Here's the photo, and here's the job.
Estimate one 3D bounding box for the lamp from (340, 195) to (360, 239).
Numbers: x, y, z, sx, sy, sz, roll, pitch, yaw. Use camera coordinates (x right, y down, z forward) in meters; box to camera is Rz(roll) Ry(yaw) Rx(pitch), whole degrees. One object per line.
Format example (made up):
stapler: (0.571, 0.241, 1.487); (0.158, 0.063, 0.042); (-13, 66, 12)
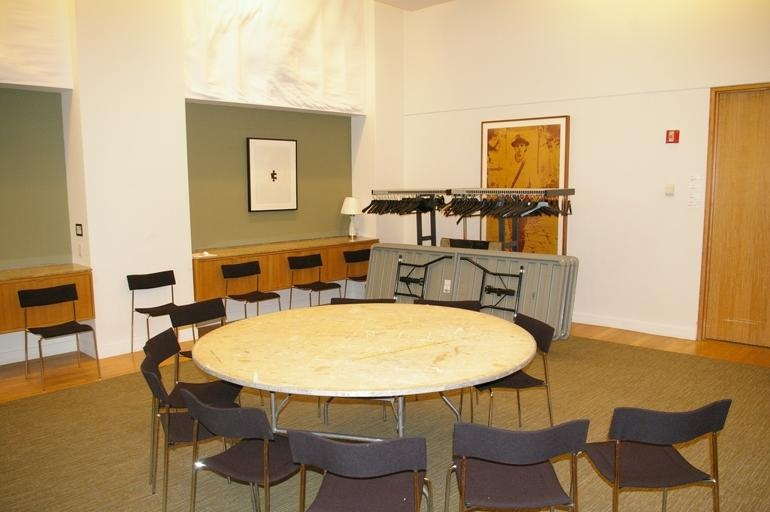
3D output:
lamp: (-0.598, -0.690, 9.461); (0.357, 0.707, 0.446); (-3, 9, -5)

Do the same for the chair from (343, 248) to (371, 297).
chair: (-0.491, 0.294, 9.141); (0.430, 0.877, 0.736); (-3, 9, -5)

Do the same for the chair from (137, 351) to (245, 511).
chair: (-1.617, 1.506, 4.523); (0.951, 1.461, 0.871); (-4, 17, -22)

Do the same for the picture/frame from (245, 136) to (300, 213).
picture/frame: (-1.805, -1.309, 8.700); (0.184, 1.141, 0.923); (6, 12, 39)

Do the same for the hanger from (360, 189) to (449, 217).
hanger: (0.364, -0.786, 7.776); (1.250, 0.359, 0.713); (5, 11, 38)

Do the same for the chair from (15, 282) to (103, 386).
chair: (-3.990, 0.869, 6.605); (0.777, 1.095, 1.052); (-8, 11, -35)

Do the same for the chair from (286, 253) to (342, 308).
chair: (-1.213, 0.401, 8.646); (0.747, 0.937, 0.926); (-6, 10, -24)

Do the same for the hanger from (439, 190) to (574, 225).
hanger: (1.588, -0.691, 7.093); (1.586, 0.388, 0.661); (1, 9, 19)
